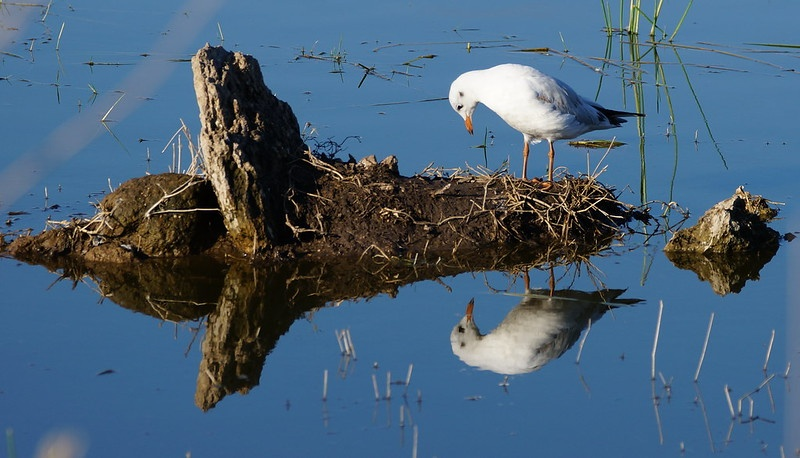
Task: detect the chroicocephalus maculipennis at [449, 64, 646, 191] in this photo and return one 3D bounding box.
[{"bbox_3d":[2.084,-1.718,19.841,2.625,1.745,0.915,5,26,4],"label":"chroicocephalus maculipennis"}]
